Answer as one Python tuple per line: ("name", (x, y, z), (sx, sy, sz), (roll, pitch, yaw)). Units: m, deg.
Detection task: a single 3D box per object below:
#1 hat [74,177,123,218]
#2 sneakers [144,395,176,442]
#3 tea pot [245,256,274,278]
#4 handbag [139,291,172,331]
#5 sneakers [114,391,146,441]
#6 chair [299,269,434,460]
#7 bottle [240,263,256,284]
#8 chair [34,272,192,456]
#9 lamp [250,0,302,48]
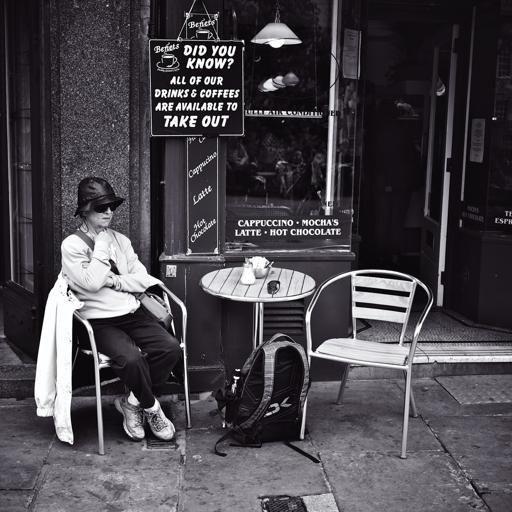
("hat", (-0.938, -0.359, 3.567), (0.197, 0.175, 0.247), (-12, 13, 5))
("sneakers", (-0.568, 0.958, 3.522), (0.115, 0.334, 0.132), (-28, 15, -7))
("tea pot", (0.041, 0.064, 3.882), (0.122, 0.104, 0.120), (1, 11, 0))
("handbag", (-0.617, 0.330, 3.769), (0.080, 0.231, 0.179), (-33, -13, -32))
("sneakers", (-0.734, 0.956, 3.583), (0.131, 0.312, 0.110), (-33, -16, 17))
("chair", (0.703, 0.612, 3.563), (0.659, 0.935, 0.672), (12, 15, 41))
("bottle", (-0.064, 0.105, 3.769), (0.098, 0.132, 0.106), (1, 8, 0))
("chair", (-0.821, 0.518, 3.624), (0.888, 1.145, 0.699), (-4, 8, -44))
("lamp", (0.140, -1.602, 4.212), (0.269, 0.428, 0.301), (6, 21, 14))
